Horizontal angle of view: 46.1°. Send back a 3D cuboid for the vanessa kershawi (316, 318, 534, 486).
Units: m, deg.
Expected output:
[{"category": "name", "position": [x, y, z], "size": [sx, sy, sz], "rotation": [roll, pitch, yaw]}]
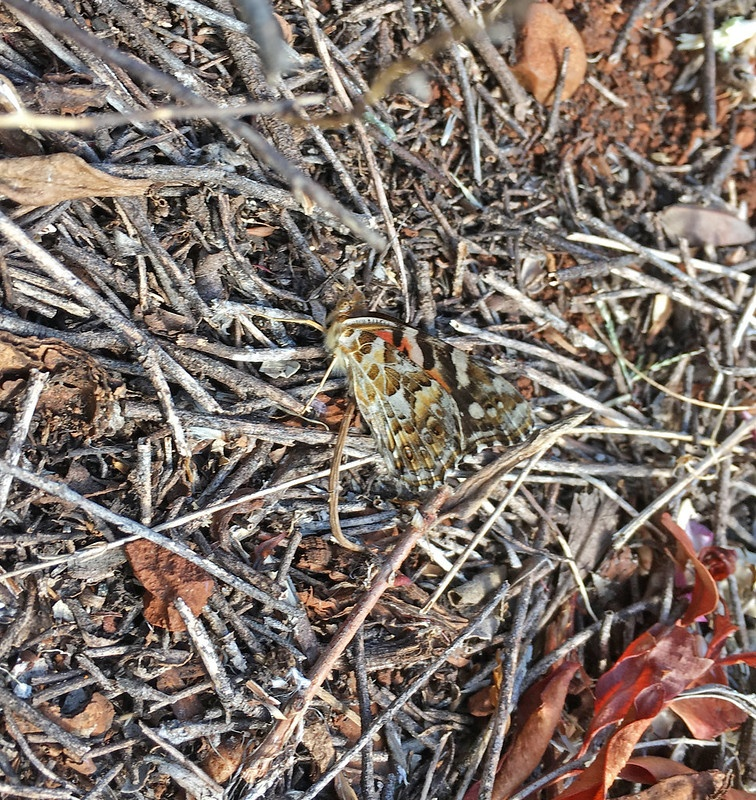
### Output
[{"category": "vanessa kershawi", "position": [0.103, 0.015, 2.130], "size": [0.484, 0.219, 0.449], "rotation": [32, 27, 18]}]
